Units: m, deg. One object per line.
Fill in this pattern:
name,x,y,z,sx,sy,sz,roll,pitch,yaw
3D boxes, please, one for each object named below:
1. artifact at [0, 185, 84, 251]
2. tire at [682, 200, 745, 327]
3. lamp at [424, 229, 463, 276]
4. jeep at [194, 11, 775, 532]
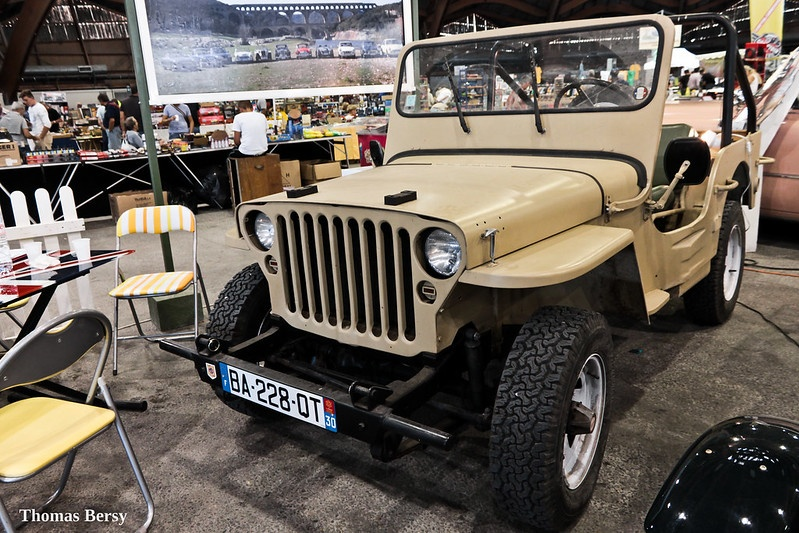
artifact,-3.121,-0.372,4.714,0.542,0.617,1.009,-19,24,-37
tire,2.815,-0.037,4.841,0.337,1.164,1.126,7,4,41
lamp,0.223,-0.078,2.715,0.180,0.224,0.056,-26,-8,34
jeep,0.944,-0.312,4.029,2.506,2.277,4.249,4,14,41
